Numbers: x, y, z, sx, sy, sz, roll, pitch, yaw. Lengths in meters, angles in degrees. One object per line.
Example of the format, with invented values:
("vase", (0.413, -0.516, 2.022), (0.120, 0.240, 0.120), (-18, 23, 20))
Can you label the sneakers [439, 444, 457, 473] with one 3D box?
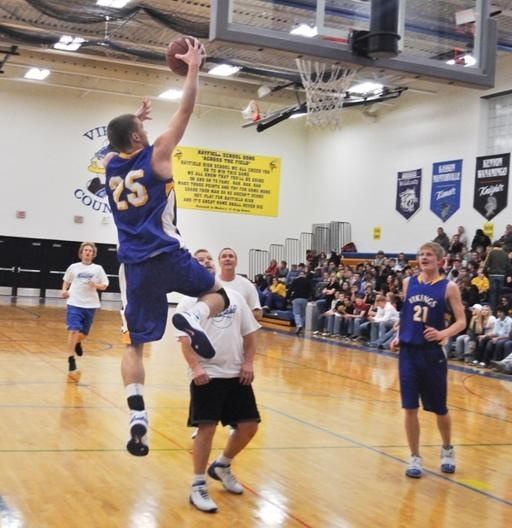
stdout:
("sneakers", (1.326, 1.361, 3.659), (0.100, 0.133, 0.260), (-1, -6, 5))

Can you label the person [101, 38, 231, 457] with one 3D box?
("person", (-0.415, -0.158, 2.588), (0.615, 1.474, 0.655), (3, 1, -22))

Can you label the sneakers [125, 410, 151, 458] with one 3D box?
("sneakers", (-0.523, 0.765, 2.317), (0.102, 0.220, 0.107), (0, 8, -4))

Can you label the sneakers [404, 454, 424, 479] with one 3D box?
("sneakers", (1.053, 1.346, 3.514), (0.089, 0.077, 0.208), (-2, -7, 9))

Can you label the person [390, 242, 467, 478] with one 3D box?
("person", (1.172, 0.642, 3.603), (0.479, 1.526, 0.473), (3, 1, 14))

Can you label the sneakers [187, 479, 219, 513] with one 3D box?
("sneakers", (-0.268, 1.145, 2.622), (0.075, 0.079, 0.205), (3, -5, -30))
